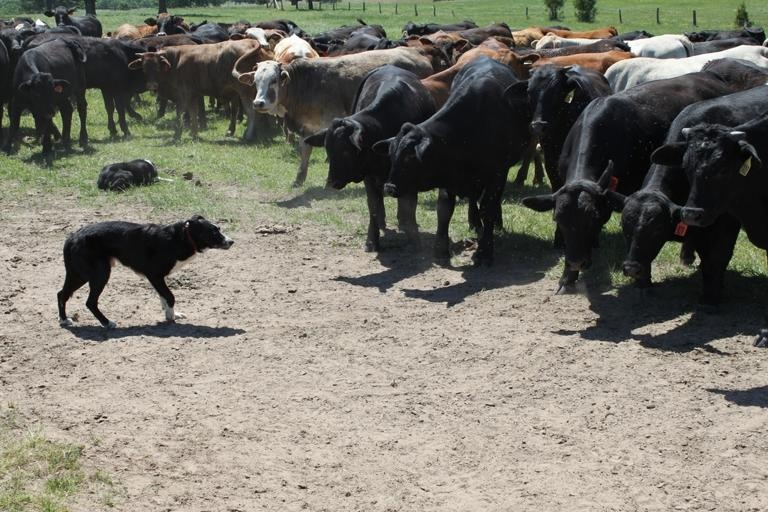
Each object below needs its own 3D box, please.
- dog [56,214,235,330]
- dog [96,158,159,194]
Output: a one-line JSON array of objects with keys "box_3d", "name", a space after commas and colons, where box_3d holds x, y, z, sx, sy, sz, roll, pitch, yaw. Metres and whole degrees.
[{"box_3d": [-2.943, 0.162, 10.858, 2.147, 1.172, 0.646, -5, 8, -40], "name": "dog"}, {"box_3d": [-4.313, -1.335, 15.075, 0.548, 0.302, 0.837, 6, 12, 31], "name": "dog"}]
